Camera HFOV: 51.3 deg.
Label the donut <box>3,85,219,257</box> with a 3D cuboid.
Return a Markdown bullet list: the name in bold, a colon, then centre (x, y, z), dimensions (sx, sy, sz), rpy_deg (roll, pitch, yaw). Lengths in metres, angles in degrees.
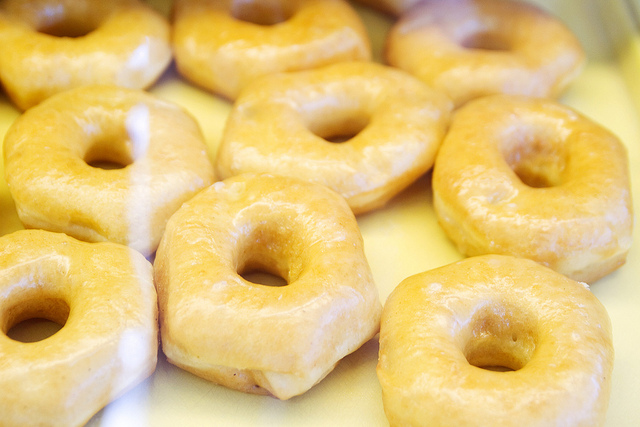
- **donut**: centre (-0.372, -0.062, 1.265), dimensions (0.338, 0.119, 0.355), rpy_deg (4, 57, -8)

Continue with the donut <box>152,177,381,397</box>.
- **donut**: centre (-0.103, 0.123, 1.150), dimensions (0.372, 0.118, 0.390), rpy_deg (-12, 58, -11)

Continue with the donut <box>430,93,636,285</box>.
- **donut**: centre (0.406, 0.012, 1.330), dimensions (0.354, 0.131, 0.337), rpy_deg (-38, 65, -22)
